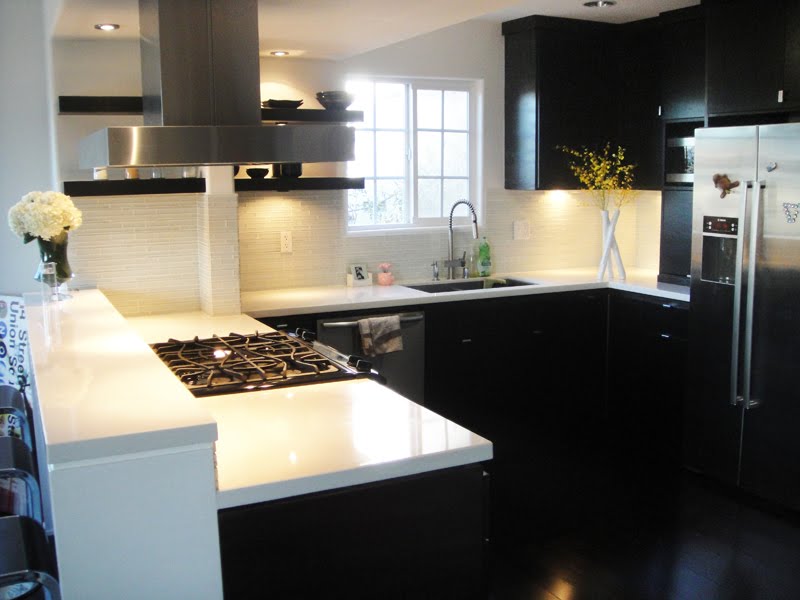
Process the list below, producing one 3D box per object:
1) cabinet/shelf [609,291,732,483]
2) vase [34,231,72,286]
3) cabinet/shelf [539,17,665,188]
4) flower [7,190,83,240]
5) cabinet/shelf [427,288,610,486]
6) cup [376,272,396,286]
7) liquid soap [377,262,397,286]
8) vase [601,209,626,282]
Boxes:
[{"bbox_3d":[1.804,0.377,4.655,0.940,0.840,0.427,2,-25,-7],"label":"cabinet/shelf"},{"bbox_3d":[-1.909,-0.243,3.473,0.261,0.357,0.257,-3,2,-27],"label":"vase"},{"bbox_3d":[1.564,-1.581,5.045,1.004,1.312,0.364,0,11,-1],"label":"cabinet/shelf"},{"bbox_3d":[-1.966,-0.475,3.429,0.315,0.258,0.286,2,13,20],"label":"flower"},{"bbox_3d":[0.774,0.552,4.202,1.196,1.066,0.550,-4,10,-23],"label":"cabinet/shelf"},{"bbox_3d":[-0.114,-0.168,4.835,0.117,0.091,0.087,2,-1,-29],"label":"cup"},{"bbox_3d":[-0.115,-0.205,4.841,0.173,0.177,0.134,1,0,-38],"label":"liquid soap"},{"bbox_3d":[1.722,-0.463,5.029,0.210,0.550,0.599,4,11,19],"label":"vase"}]
